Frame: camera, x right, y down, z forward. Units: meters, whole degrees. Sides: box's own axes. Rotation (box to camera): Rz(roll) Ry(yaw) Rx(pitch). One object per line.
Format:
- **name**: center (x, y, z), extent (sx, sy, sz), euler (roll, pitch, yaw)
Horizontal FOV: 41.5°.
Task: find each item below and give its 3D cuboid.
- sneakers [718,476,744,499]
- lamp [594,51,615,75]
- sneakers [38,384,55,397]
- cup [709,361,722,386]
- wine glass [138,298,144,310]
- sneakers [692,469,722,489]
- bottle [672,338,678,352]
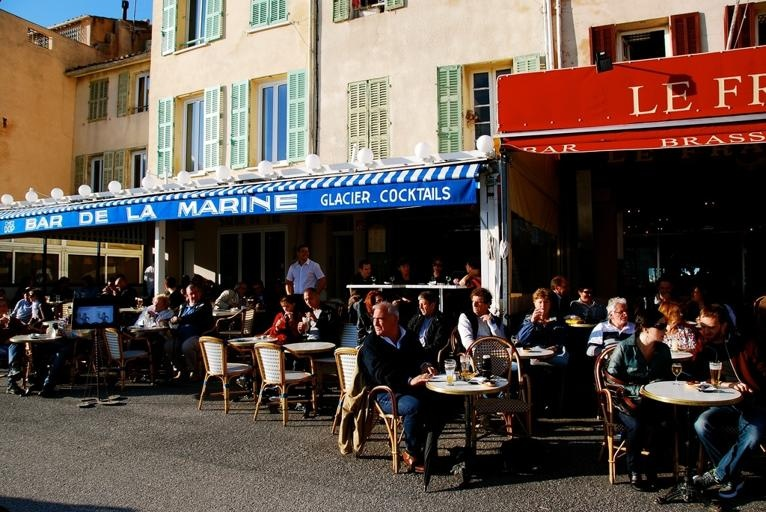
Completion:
- **sneakers**: center (5.041, 3.365, 14.633), extent (0.465, 0.185, 0.170), euler (2, -9, -36)
- **lamp**: center (4.143, -3.716, 19.092), extent (0.315, 0.469, 0.156), euler (-12, -5, 12)
- **sneakers**: center (-6.204, 2.468, 18.664), extent (0.181, 0.251, 0.258), euler (0, -13, -4)
- **cup**: center (4.941, 1.739, 15.035), extent (0.146, 0.341, 0.248), euler (-2, -14, 19)
- **wine glass**: center (-5.562, 1.098, 23.230), extent (0.174, 0.231, 0.180), euler (0, -4, 11)
- **sneakers**: center (4.747, 3.272, 14.845), extent (0.537, 0.255, 0.206), euler (-2, -4, 17)
- **bottle**: center (4.790, 1.465, 16.649), extent (0.137, 0.238, 0.146), euler (1, -3, 0)
